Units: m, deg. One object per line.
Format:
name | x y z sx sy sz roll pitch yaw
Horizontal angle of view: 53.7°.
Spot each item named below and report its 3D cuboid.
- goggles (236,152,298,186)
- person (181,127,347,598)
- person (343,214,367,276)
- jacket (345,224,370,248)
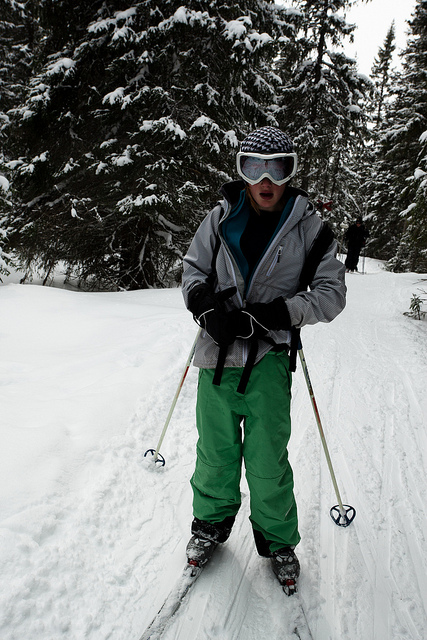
goggles | 0.230 -0.665 1.852 0.263 0.142 0.141 4 14 4
person | 0.197 0.234 2.002 0.651 2.150 0.638 5 11 18
person | 4.605 -2.430 13.859 0.663 1.868 1.136 7 14 19
jacket | 4.603 -2.658 13.597 0.492 0.803 0.747 2 -8 15
